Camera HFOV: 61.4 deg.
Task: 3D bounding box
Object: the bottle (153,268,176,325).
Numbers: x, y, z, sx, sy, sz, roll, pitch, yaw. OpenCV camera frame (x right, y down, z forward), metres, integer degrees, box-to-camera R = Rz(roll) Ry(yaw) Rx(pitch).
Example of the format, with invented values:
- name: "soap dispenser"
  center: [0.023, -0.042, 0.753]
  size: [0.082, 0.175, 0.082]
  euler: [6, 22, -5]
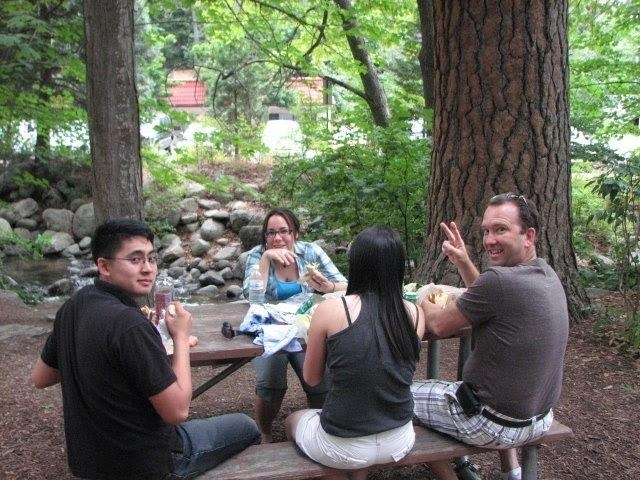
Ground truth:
- name: "bottle"
  center: [-1.088, 0.447, 3.718]
  size: [0.119, 0.390, 0.104]
  euler: [-5, 32, -27]
